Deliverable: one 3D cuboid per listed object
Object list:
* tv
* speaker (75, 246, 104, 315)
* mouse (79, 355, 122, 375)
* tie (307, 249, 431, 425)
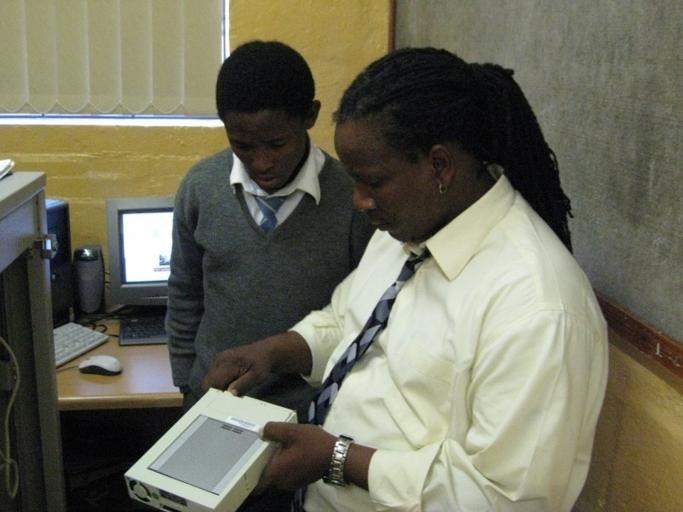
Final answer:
[{"bbox_3d":[-0.747,-0.015,2.657,0.273,0.404,0.233,-5,-7,-7],"label":"tv"},{"bbox_3d":[-0.970,0.099,2.601,0.109,0.257,0.053,-8,14,-26],"label":"speaker"},{"bbox_3d":[-0.775,0.350,2.198,0.104,0.038,0.066,5,22,2],"label":"mouse"},{"bbox_3d":[0.070,0.201,1.596,0.069,0.523,0.076,33,14,-16],"label":"tie"}]
